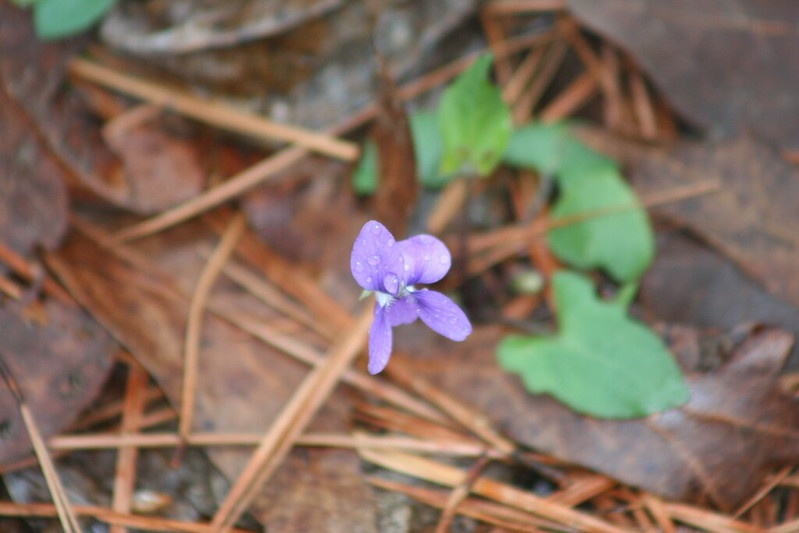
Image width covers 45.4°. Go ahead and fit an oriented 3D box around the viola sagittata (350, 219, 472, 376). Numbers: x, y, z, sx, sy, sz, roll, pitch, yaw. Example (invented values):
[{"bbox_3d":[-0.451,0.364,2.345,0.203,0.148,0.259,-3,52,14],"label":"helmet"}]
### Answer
[{"bbox_3d":[0.024,0.055,1.690,0.207,0.089,0.197,30,65,-22],"label":"viola sagittata"}]
